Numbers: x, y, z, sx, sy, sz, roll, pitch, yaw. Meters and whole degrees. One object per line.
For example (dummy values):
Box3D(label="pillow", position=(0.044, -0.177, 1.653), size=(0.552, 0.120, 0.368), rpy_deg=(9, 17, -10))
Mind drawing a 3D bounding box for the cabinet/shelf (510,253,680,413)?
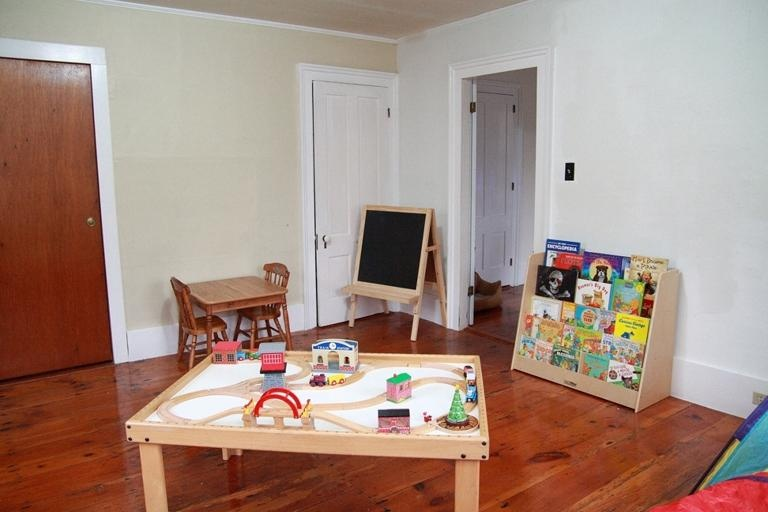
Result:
Box3D(label="cabinet/shelf", position=(1.847, 0.672, 4.505), size=(0.599, 1.104, 1.149), rpy_deg=(-4, 9, -40))

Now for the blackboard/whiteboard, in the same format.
Box3D(label="blackboard/whiteboard", position=(0.120, -0.057, 5.925), size=(0.882, 0.894, 0.338), rpy_deg=(8, 0, 33))

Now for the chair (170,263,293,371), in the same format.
Box3D(label="chair", position=(-1.376, 0.577, 5.235), size=(1.232, 0.998, 0.802), rpy_deg=(-4, 7, -36))
